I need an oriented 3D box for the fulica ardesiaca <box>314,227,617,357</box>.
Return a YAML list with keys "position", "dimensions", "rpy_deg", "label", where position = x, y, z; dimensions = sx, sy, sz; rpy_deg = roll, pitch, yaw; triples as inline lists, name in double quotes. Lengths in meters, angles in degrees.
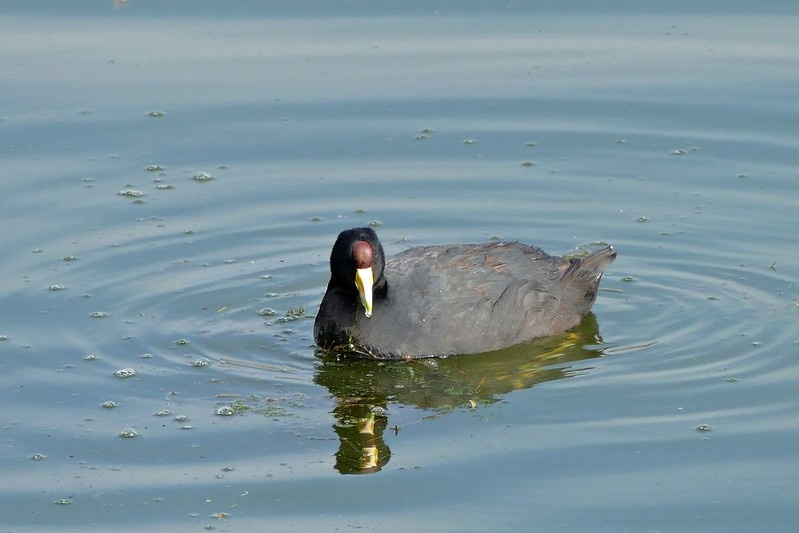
- position: [0.694, 0.313, 10.161]
  dimensions: [3.251, 1.033, 1.430]
  rpy_deg: [-1, 71, -2]
  label: "fulica ardesiaca"
